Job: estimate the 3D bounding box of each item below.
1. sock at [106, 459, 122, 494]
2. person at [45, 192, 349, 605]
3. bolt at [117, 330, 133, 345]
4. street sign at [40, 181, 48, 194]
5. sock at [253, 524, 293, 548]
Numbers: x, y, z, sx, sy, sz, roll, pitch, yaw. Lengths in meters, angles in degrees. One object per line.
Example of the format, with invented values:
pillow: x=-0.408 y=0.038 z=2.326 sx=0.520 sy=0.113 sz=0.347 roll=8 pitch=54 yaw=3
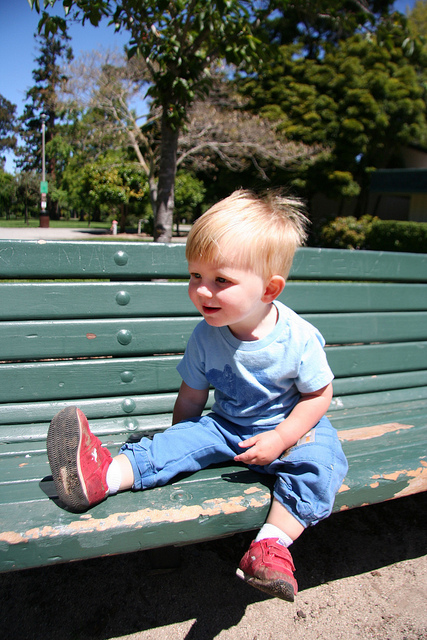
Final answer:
sock: x=-0.209 y=0.329 z=1.002 sx=0.039 sy=0.051 sz=0.046 roll=3 pitch=11 yaw=45
person: x=0.054 y=0.084 z=1.096 sx=0.621 sy=0.706 sz=0.699 roll=2 pitch=7 yaw=35
bolt: x=-0.285 y=0.055 z=1.522 sx=0.042 sy=0.042 sz=0.023 roll=-8 pitch=10 yaw=-20
street sign: x=-9.793 y=-7.690 z=27.485 sx=0.271 sy=0.665 sz=0.614 roll=-1 pitch=3 yaw=-30
sock: x=0.121 y=0.436 z=0.972 sx=0.054 sy=0.043 sz=0.048 roll=44 pitch=-3 yaw=35
